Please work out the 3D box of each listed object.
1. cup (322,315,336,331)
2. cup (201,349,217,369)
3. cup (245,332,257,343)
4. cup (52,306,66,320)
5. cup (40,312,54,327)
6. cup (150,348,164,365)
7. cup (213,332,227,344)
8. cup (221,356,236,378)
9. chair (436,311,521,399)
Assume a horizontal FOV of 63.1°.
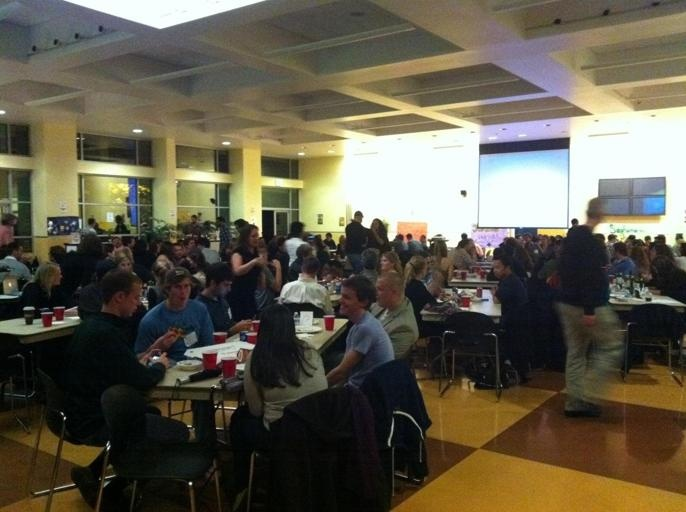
[{"bbox_3d":[-0.115,0.590,4.912,0.130,0.087,0.121,-2,4,0],"label":"cup"},{"bbox_3d":[-0.893,0.718,3.829,0.114,0.105,0.106,0,-4,0],"label":"cup"},{"bbox_3d":[-0.690,0.623,4.270,0.108,0.061,0.089,2,0,4],"label":"cup"},{"bbox_3d":[-2.743,0.560,5.450,0.156,0.139,0.148,-1,-3,0],"label":"cup"},{"bbox_3d":[-2.757,0.588,5.183,0.155,0.133,0.141,-1,-5,0],"label":"cup"},{"bbox_3d":[-1.332,0.723,3.964,0.121,0.105,0.070,0,6,-41],"label":"cup"},{"bbox_3d":[-0.947,0.628,4.302,0.104,0.070,0.099,0,-6,0],"label":"cup"},{"bbox_3d":[-0.741,0.726,3.652,0.133,0.115,0.121,0,-2,-8],"label":"cup"},{"bbox_3d":[1.319,1.033,5.979,0.640,0.775,0.558,-3,-13,16],"label":"chair"}]
